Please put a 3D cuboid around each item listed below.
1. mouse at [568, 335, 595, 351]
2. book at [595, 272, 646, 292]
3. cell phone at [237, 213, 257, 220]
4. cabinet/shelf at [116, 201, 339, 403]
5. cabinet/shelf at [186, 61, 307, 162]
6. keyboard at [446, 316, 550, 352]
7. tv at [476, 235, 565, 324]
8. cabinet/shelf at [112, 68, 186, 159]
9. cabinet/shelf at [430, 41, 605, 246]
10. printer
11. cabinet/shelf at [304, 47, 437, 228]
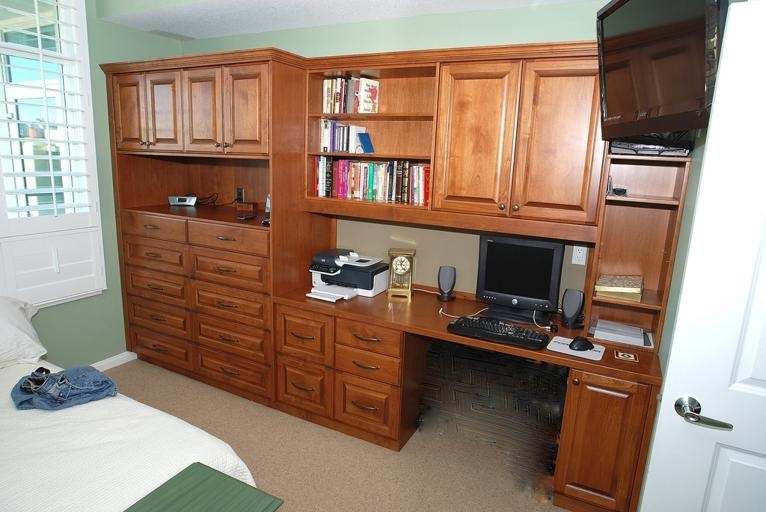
[{"bbox_3d":[1.286,0.561,3.433,0.150,0.066,0.173,6,13,21],"label":"mouse"},{"bbox_3d":[1.568,0.183,3.540,0.274,0.087,0.259,6,13,22],"label":"book"},{"bbox_3d":[-1.107,-0.324,4.357,0.142,0.027,0.179,-1,12,-12],"label":"cell phone"},{"bbox_3d":[-1.417,0.361,4.788,2.187,1.443,0.791,7,11,37],"label":"cabinet/shelf"},{"bbox_3d":[-1.088,-1.178,4.265,1.065,0.695,0.512,11,16,36],"label":"cabinet/shelf"},{"bbox_3d":[0.778,0.508,3.576,0.659,0.099,0.284,5,12,19],"label":"keyboard"},{"bbox_3d":[0.985,0.166,3.767,0.645,0.543,0.381,6,12,25],"label":"tv"},{"bbox_3d":[-1.883,-1.234,4.543,0.915,0.673,0.382,7,13,25],"label":"cabinet/shelf"},{"bbox_3d":[0.921,-0.778,3.530,1.536,1.205,0.555,6,12,23],"label":"cabinet/shelf"},{"bbox_3d":[-0.293,0.139,4.173,0.611,0.247,0.525,8,21,31],"label":"printer"},{"bbox_3d":[-0.076,-0.921,4.019,1.570,1.267,0.424,5,10,22],"label":"cabinet/shelf"}]
